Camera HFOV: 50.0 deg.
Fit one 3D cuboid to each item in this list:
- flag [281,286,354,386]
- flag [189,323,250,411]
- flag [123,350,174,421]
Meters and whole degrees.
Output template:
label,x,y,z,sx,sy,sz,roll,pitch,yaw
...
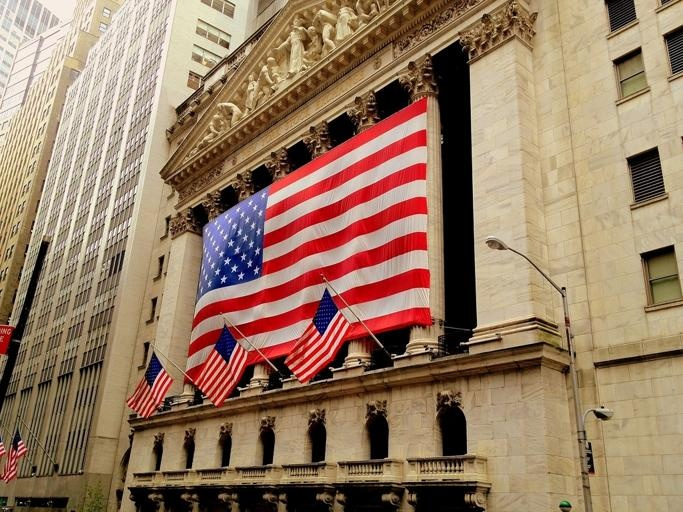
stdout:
label,x,y,z,sx,sy,sz,roll,pitch,yaw
flag,-1.308,4.553,41.233,5.144,5.143,0.537,-27,-39,26
flag,-7.107,6.353,43.926,1.552,5.471,3.527,19,-35,-32
flag,-12.419,8.339,47.872,1.031,4.695,3.136,19,-35,-32
